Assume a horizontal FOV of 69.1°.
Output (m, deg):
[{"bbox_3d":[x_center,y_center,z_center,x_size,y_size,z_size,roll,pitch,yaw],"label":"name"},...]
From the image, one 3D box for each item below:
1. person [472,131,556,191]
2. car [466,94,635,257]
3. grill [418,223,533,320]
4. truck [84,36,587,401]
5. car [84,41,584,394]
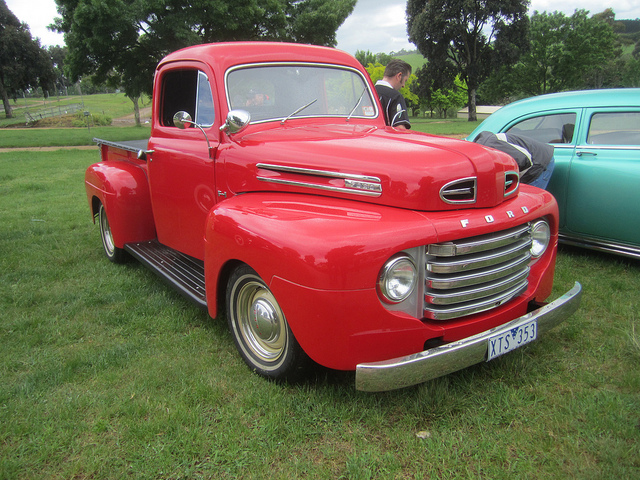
[{"bbox_3d":[2.251,-0.918,5.505,1.131,0.645,0.831,-10,17,-19],"label":"person"},{"bbox_3d":[2.787,-1.058,6.138,2.266,1.225,1.277,7,21,35],"label":"car"},{"bbox_3d":[1.131,0.232,3.367,1.004,0.563,0.158,-11,19,-26],"label":"grill"},{"bbox_3d":[-0.302,-0.431,4.606,2.535,2.264,4.606,-12,22,-37],"label":"truck"},{"bbox_3d":[-0.339,-0.527,4.591,2.432,2.167,4.642,-11,19,-36],"label":"car"}]
